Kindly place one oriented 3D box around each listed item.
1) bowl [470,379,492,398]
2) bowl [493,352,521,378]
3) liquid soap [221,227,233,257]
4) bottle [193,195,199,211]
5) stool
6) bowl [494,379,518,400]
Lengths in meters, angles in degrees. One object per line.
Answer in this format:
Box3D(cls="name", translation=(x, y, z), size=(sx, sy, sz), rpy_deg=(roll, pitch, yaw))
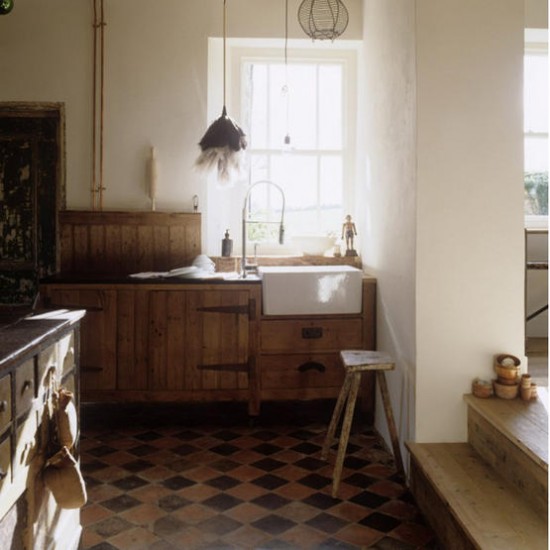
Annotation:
Box3D(cls="bowl", translation=(0.975, 0.534, 2.381), size=(0.062, 0.058, 0.074), rpy_deg=(1, 8, 7))
Box3D(cls="bowl", translation=(1.079, 0.427, 2.366), size=(0.118, 0.103, 0.108), rpy_deg=(0, 4, 0))
Box3D(cls="liquid soap", translation=(-0.359, -0.231, 3.788), size=(0.073, 0.200, 0.205), rpy_deg=(0, 3, -8))
Box3D(cls="bottle", translation=(-0.597, -0.542, 3.830), size=(0.034, 0.126, 0.055), rpy_deg=(-2, 4, -42))
Box3D(cls="stool", translation=(0.374, 0.707, 2.783), size=(0.426, 0.928, 0.553), rpy_deg=(-1, 3, -8))
Box3D(cls="bowl", translation=(1.075, 0.526, 2.340), size=(0.070, 0.057, 0.079), rpy_deg=(1, -1, -16))
